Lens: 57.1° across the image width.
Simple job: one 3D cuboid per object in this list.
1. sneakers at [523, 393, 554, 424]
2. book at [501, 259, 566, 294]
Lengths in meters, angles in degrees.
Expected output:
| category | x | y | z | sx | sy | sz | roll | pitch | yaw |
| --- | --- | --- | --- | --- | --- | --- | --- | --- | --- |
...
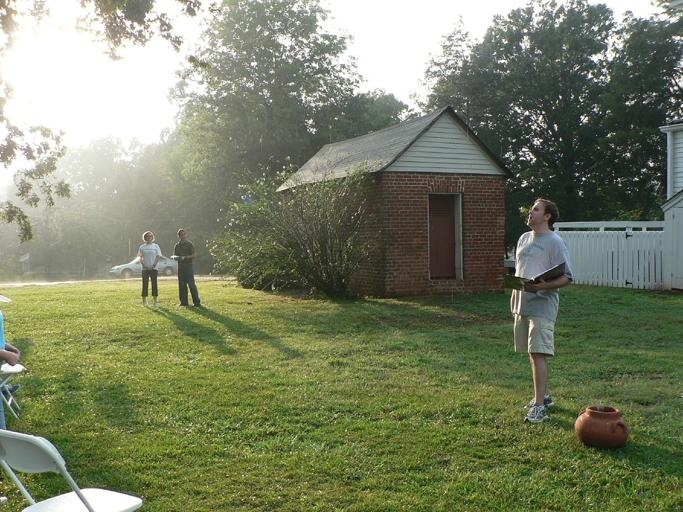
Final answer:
| category | x | y | z | sx | sy | sz | roll | pitch | yaw |
| --- | --- | --- | --- | --- | --- | --- | --- | --- | --- |
| sneakers | 2.441 | 1.878 | 7.798 | 0.194 | 0.257 | 0.616 | -5 | -2 | 30 |
| book | 2.325 | 0.246 | 7.583 | 0.710 | 0.367 | 0.291 | 2 | 6 | 15 |
